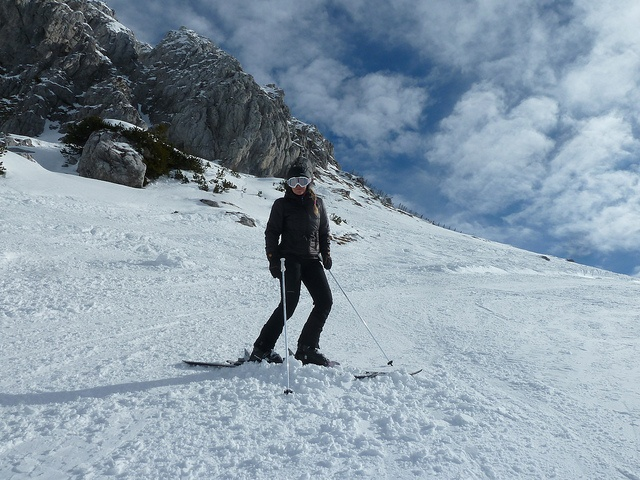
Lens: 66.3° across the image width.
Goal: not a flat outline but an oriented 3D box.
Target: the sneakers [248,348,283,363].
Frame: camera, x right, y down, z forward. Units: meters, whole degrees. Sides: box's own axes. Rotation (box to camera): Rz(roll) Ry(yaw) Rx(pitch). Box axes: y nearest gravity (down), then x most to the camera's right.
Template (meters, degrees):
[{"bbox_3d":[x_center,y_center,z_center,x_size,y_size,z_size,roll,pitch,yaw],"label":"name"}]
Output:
[{"bbox_3d":[-0.907,1.950,8.244,0.642,0.220,0.219,-1,1,-11],"label":"sneakers"}]

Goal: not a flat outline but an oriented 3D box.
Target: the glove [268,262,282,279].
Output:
[{"bbox_3d":[-0.791,0.516,8.334,0.175,0.298,0.268,1,12,-28],"label":"glove"}]
